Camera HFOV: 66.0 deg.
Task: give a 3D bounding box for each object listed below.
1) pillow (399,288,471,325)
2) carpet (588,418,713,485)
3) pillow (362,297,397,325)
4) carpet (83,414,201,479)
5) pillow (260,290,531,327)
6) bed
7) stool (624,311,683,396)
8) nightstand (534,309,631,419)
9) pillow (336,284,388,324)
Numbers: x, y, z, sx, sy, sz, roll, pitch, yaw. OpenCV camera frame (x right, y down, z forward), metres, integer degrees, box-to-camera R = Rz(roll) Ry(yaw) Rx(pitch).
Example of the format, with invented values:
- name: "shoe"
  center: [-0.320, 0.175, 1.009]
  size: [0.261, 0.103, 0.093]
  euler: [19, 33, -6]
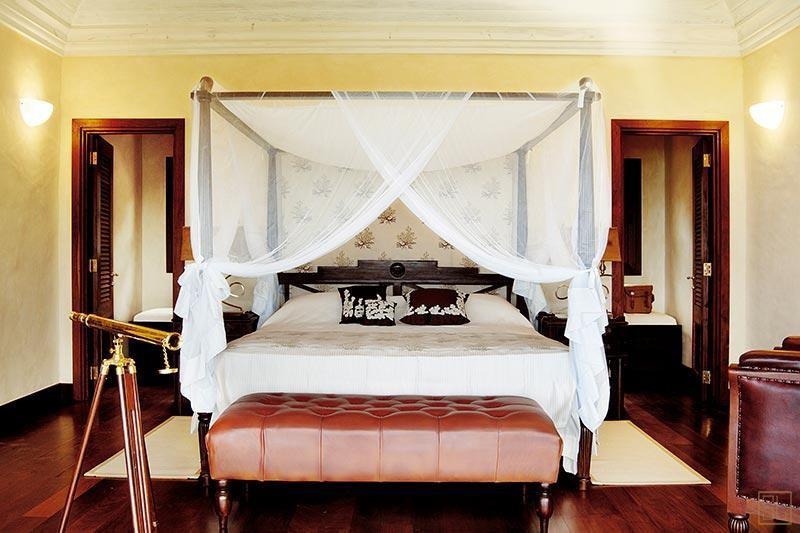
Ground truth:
- name: "pillow"
  center: [0.370, 0.391, 5.986]
  size: [0.622, 0.358, 0.531]
  euler: [0, -1, -1]
- name: "carpet"
  center: [1.952, 1.546, 5.113]
  size: [0.884, 0.203, 0.985]
  euler: [0, 1, 7]
- name: "pillow"
  center: [-0.203, 0.430, 5.920]
  size: [0.256, 0.081, 0.251]
  euler: [8, 33, 8]
- name: "carpet"
  center: [-2.016, 1.524, 5.150]
  size: [0.866, 0.201, 1.056]
  euler: [0, 1, -8]
- name: "pillow"
  center: [-0.164, 0.416, 6.039]
  size: [1.799, 0.607, 1.166]
  euler: [0, -1, 2]
- name: "bed"
  center: [-0.101, 0.739, 6.473]
  size: [3.992, 1.596, 3.925]
  euler: [2, 2, -1]
- name: "stool"
  center: [2.796, 0.934, 6.769]
  size: [0.654, 0.774, 0.522]
  euler: [0, 2, 14]
- name: "nightstand"
  center: [1.722, 0.927, 6.068]
  size: [0.907, 0.903, 0.711]
  euler: [3, 3, 1]
- name: "pillow"
  center: [-0.416, 0.320, 6.009]
  size: [0.415, 0.367, 0.119]
  euler: [-5, -30, 4]
